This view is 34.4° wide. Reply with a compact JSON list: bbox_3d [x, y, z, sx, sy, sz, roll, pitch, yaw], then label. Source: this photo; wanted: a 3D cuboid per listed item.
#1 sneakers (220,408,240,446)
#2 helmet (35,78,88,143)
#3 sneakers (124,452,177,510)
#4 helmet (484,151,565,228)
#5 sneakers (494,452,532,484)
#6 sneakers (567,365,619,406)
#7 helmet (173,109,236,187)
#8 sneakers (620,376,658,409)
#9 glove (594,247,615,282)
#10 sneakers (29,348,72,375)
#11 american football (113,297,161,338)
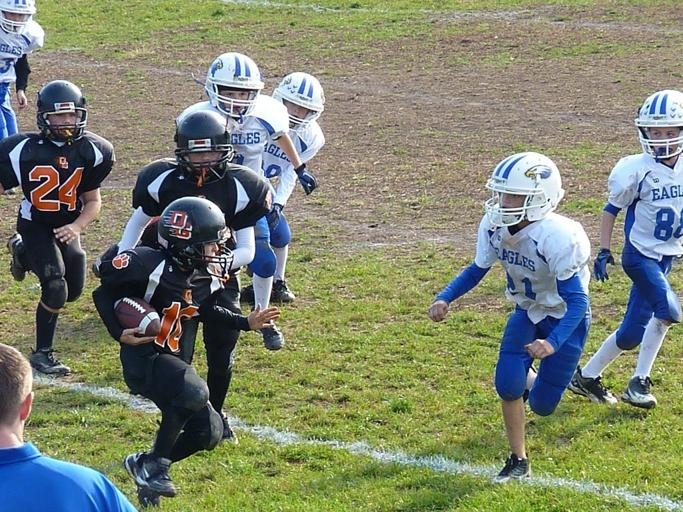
[{"bbox_3d":[-0.877,1.405,8.943,0.112,0.186,0.294,13,19,10],"label":"sneakers"},{"bbox_3d":[-2.520,-1.283,9.638,0.487,0.425,0.577,-5,26,-21],"label":"helmet"},{"bbox_3d":[-1.289,1.606,8.009,0.585,0.244,0.206,26,19,34],"label":"sneakers"},{"bbox_3d":[1.285,-0.528,8.498,0.727,0.447,0.502,-3,11,-33],"label":"helmet"},{"bbox_3d":[1.219,1.601,8.280,0.399,0.146,0.129,-4,6,-38],"label":"sneakers"},{"bbox_3d":[2.113,1.136,9.430,0.573,0.242,0.186,23,18,-4],"label":"sneakers"},{"bbox_3d":[-1.065,-0.832,8.497,0.509,0.454,0.584,-1,32,-4],"label":"helmet"},{"bbox_3d":[2.475,1.134,9.178,0.282,0.252,0.199,7,12,4],"label":"sneakers"},{"bbox_3d":[2.302,0.080,9.600,0.252,0.279,0.116,-9,-7,43],"label":"glove"},{"bbox_3d":[-2.565,0.935,9.786,0.446,0.173,0.159,16,10,2],"label":"sneakers"},{"bbox_3d":[-1.451,0.433,7.979,0.357,0.195,0.220,32,13,25],"label":"american football"}]
